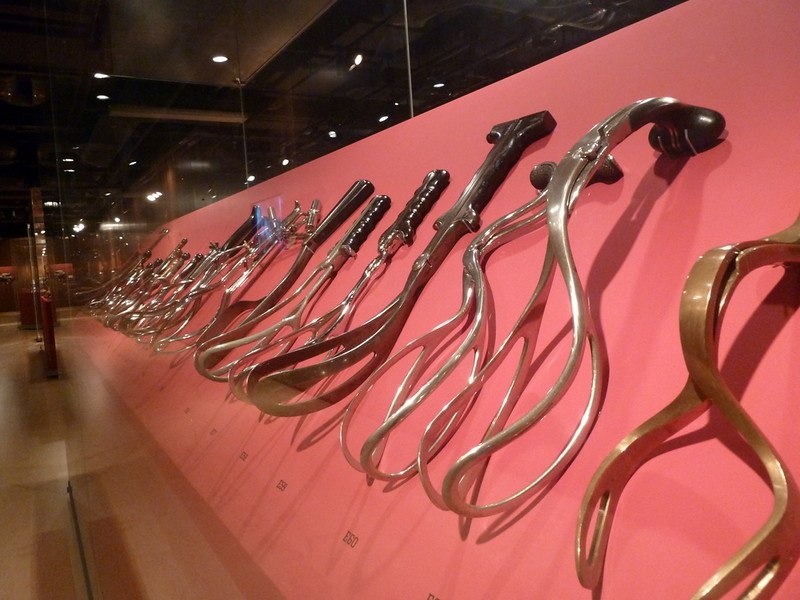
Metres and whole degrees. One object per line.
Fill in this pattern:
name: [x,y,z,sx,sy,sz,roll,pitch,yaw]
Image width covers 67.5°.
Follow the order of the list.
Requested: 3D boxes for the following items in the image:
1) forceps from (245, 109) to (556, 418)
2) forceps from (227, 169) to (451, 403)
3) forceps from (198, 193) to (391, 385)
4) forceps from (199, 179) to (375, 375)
forceps: [-0.009,-0.028,0.944,0.135,0.572,0.134,45,-6,3]
forceps: [-0.034,-0.042,1.100,0.202,0.659,0.077,25,-25,29]
forceps: [-0.194,-0.019,1.141,0.094,0.445,0.110,46,-23,-26]
forceps: [-0.219,-0.043,1.191,0.116,0.470,0.117,9,-34,53]
